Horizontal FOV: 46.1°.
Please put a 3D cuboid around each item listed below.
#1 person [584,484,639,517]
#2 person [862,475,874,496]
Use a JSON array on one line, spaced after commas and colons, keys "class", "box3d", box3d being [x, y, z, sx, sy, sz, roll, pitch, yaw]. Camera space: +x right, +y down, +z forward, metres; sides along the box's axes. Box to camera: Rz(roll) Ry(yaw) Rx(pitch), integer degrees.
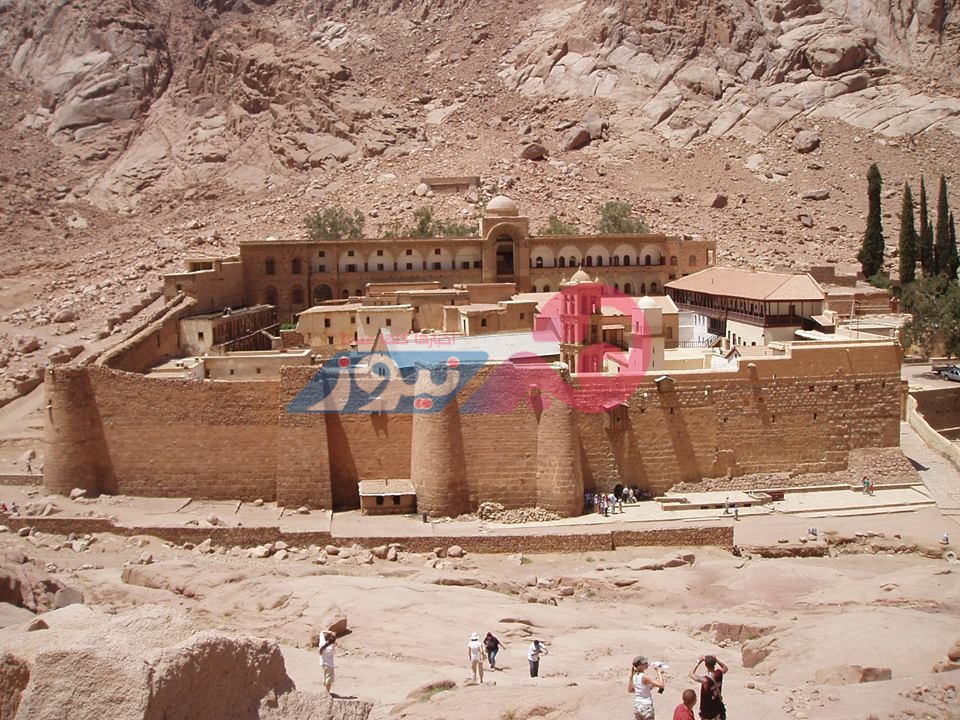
[{"class": "person", "box3d": [4.815, 5.150, 41.789, 1.330, 0.403, 1.124, -6, 7, -44]}, {"class": "person", "box3d": [14.774, 4.751, 43.041, 0.403, 0.584, 0.758, -2, 9, 19]}]
